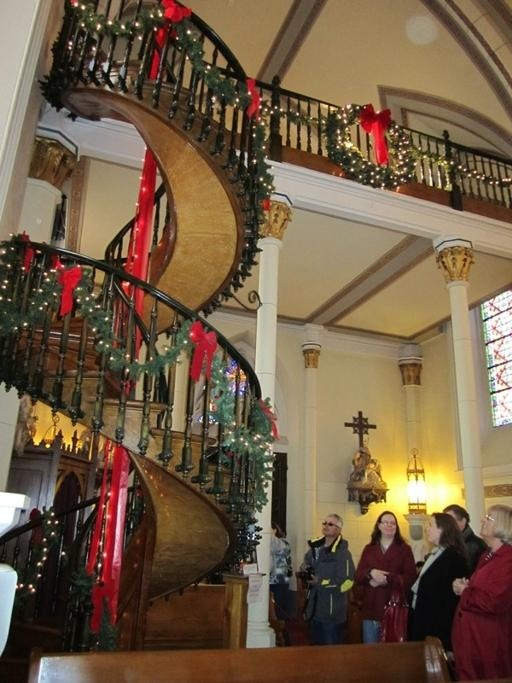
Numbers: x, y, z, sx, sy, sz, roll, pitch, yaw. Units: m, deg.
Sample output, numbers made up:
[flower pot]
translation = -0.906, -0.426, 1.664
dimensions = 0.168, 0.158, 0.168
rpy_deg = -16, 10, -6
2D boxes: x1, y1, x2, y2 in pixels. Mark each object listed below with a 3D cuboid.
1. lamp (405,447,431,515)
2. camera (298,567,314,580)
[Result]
[lamp]
translation = 3.443, 3.002, 11.391
dimensions = 0.416, 1.339, 0.359
rpy_deg = -3, -18, 17
[camera]
translation = 0.479, 2.063, 4.702
dimensions = 0.186, 0.086, 0.128
rpy_deg = 9, -10, -29
